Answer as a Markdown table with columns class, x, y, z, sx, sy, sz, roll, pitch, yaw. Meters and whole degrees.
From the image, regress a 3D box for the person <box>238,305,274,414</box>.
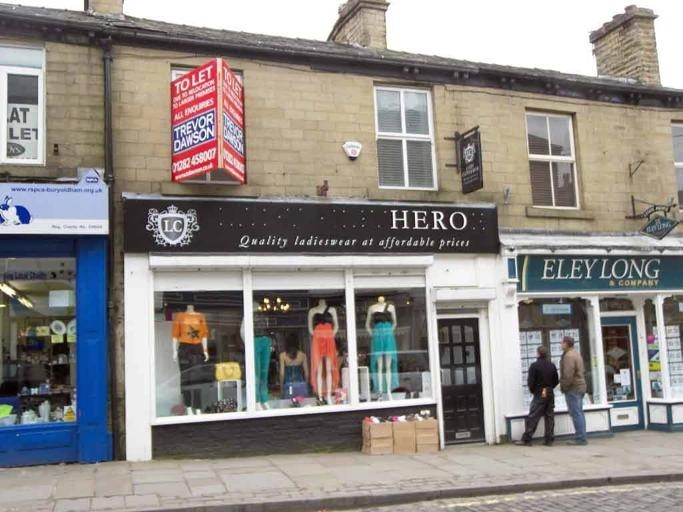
| class | x | y | z | sx | sy | sz | roll | pitch | yaw |
| --- | --- | --- | --- | --- | --- | --- | --- | --- | --- |
| person | -1.489 | 1.894 | 13.192 | 0.381 | 1.979 | 0.262 | 1 | -1 | -7 |

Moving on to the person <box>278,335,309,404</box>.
| class | x | y | z | sx | sy | sz | roll | pitch | yaw |
| --- | --- | --- | --- | --- | --- | --- | --- | --- | --- |
| person | -0.915 | 2.193 | 13.393 | 0.525 | 1.312 | 0.165 | 1 | -1 | -13 |

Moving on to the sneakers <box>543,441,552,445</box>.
| class | x | y | z | sx | sy | sz | roll | pitch | yaw |
| --- | --- | --- | --- | --- | --- | --- | --- | --- | --- |
| sneakers | 4.089 | 3.740 | 13.810 | 0.166 | 0.083 | 0.142 | 1 | 0 | 19 |

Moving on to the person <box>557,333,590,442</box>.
| class | x | y | z | sx | sy | sz | roll | pitch | yaw |
| --- | --- | --- | --- | --- | --- | --- | --- | --- | --- |
| person | 4.701 | 2.733 | 14.124 | 0.541 | 2.082 | 0.513 | 1 | -1 | 19 |

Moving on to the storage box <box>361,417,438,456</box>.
| class | x | y | z | sx | sy | sz | roll | pitch | yaw |
| --- | --- | --- | --- | --- | --- | --- | --- | --- | --- |
| storage box | 1.180 | 3.440 | 13.132 | 1.392 | 0.580 | 0.231 | 1 | -1 | -22 |

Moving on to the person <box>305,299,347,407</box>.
| class | x | y | z | sx | sy | sz | roll | pitch | yaw |
| --- | --- | --- | --- | --- | --- | --- | --- | --- | --- |
| person | -0.346 | 1.873 | 13.563 | 0.596 | 1.997 | 0.243 | 1 | -1 | -6 |

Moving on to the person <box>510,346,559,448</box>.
| class | x | y | z | sx | sy | sz | roll | pitch | yaw |
| --- | --- | --- | --- | --- | --- | --- | --- | --- | --- |
| person | 3.957 | 2.817 | 13.957 | 0.750 | 1.911 | 0.437 | 1 | -1 | 7 |

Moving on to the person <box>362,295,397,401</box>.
| class | x | y | z | sx | sy | sz | roll | pitch | yaw |
| --- | --- | --- | --- | --- | --- | --- | --- | --- | --- |
| person | 0.824 | 1.854 | 13.897 | 0.628 | 1.994 | 0.211 | 1 | -1 | -20 |
